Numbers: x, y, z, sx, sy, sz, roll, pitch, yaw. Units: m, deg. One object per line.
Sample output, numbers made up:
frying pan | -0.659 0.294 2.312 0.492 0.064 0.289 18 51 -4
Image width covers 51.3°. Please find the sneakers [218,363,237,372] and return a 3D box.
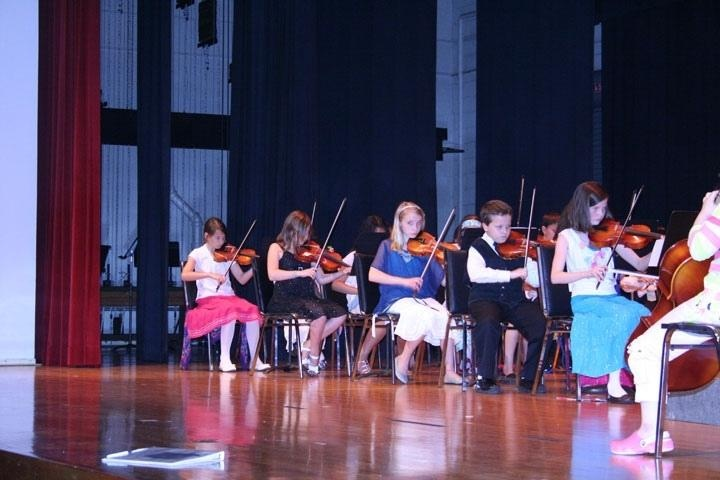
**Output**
sneakers | -1.240 1.191 7.040 0.121 0.054 0.075 -11 -13 43

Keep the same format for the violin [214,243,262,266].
violin | -1.187 0.140 7.248 0.385 0.126 0.208 15 38 10

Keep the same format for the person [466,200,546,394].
person | 1.135 0.420 5.892 0.610 1.226 0.553 2 1 7

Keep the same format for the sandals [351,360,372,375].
sandals | 0.018 1.124 6.648 0.086 0.102 0.210 7 -13 -35

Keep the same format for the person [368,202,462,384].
person | 0.465 0.424 6.298 0.786 1.144 0.556 2 1 10

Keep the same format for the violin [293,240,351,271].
violin | -0.365 0.162 6.903 0.535 0.088 0.218 27 35 0

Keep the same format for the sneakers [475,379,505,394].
sneakers | 0.966 1.100 5.667 0.167 0.083 0.095 -1 -3 16

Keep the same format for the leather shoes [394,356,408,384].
leather shoes | 0.337 1.073 6.193 0.082 0.241 0.091 -6 1 40

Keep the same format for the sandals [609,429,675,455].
sandals | 1.499 1.067 3.949 0.280 0.111 0.143 2 -10 -1

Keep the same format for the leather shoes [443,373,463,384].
leather shoes | 0.762 1.142 6.164 0.183 0.136 0.065 -5 -7 23
